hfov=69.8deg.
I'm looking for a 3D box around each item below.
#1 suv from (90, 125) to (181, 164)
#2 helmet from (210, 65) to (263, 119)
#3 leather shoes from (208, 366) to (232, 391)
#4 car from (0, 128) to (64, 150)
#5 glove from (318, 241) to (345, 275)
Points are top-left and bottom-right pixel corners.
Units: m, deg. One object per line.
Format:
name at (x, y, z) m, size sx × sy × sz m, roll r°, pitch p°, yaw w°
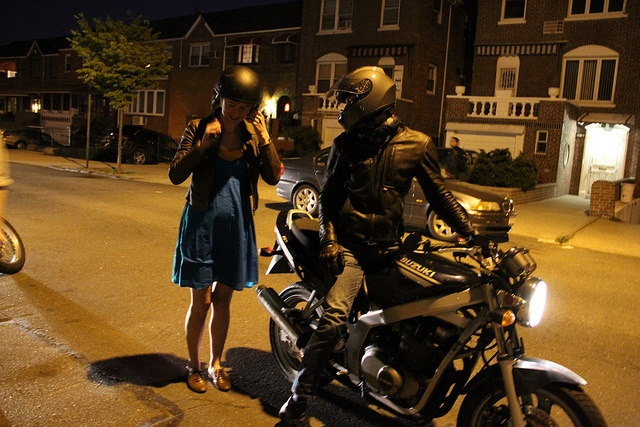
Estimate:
suv at (-10.702, -4.029, 27.248) m, size 3.791 × 2.275 × 3.514 m, roll -1°, pitch 12°, yaw -24°
helmet at (-0.743, -1.149, 4.305) m, size 0.420 × 0.458 × 0.358 m, roll -2°, pitch 0°, yaw 43°
leather shoes at (-1.040, 1.656, 4.736) m, size 0.125 × 0.126 × 0.324 m, roll -14°, pitch 27°, yaw -32°
car at (-23.131, -5.890, 36.407) m, size 1.636 × 1.307 × 3.722 m, roll 9°, pitch 13°, yaw 26°
glove at (0.100, 0.374, 3.926) m, size 0.194 × 0.268 × 0.267 m, roll -13°, pitch 35°, yaw -1°
